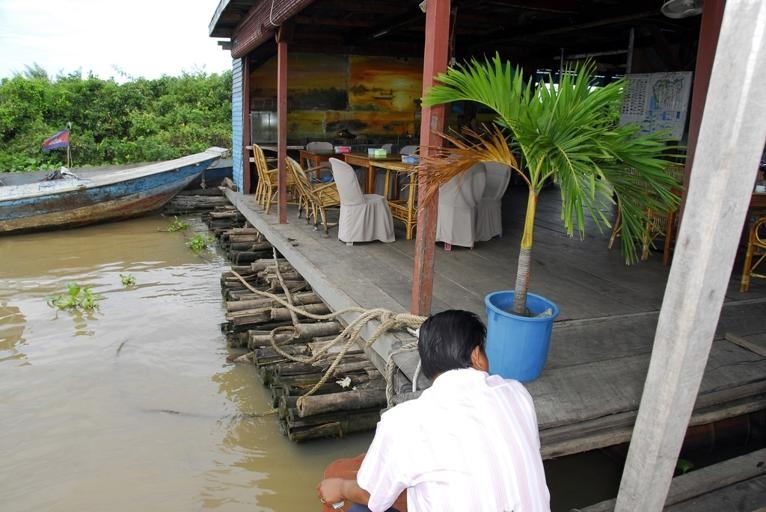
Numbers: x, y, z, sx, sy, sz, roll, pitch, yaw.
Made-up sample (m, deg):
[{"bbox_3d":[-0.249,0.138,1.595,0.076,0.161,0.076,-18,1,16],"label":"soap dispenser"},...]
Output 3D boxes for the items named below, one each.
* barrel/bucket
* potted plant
[{"bbox_3d":[0.886,0.529,3.338,0.664,0.449,0.604,2,12,0],"label":"barrel/bucket"},{"bbox_3d":[1.393,-0.419,3.651,1.521,2.128,2.550,10,20,30],"label":"potted plant"}]
